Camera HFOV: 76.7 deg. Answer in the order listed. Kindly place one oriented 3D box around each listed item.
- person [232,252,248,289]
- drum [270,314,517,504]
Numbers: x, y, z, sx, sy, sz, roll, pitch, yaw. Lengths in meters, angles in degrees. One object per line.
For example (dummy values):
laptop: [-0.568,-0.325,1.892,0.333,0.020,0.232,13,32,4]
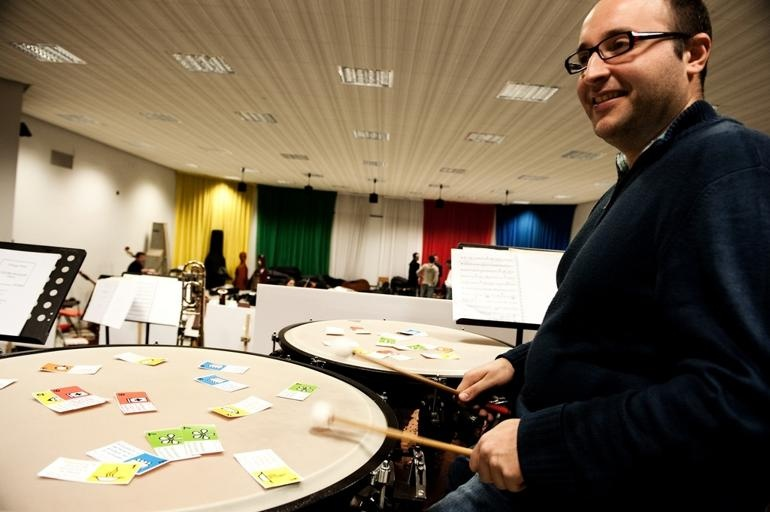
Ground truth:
person: [-4.028,0.355,13.630,0.397,0.980,1.684,6,8,-17]
drum: [0.030,0.614,1.974,0.740,0.240,0.713,3,11,-1]
